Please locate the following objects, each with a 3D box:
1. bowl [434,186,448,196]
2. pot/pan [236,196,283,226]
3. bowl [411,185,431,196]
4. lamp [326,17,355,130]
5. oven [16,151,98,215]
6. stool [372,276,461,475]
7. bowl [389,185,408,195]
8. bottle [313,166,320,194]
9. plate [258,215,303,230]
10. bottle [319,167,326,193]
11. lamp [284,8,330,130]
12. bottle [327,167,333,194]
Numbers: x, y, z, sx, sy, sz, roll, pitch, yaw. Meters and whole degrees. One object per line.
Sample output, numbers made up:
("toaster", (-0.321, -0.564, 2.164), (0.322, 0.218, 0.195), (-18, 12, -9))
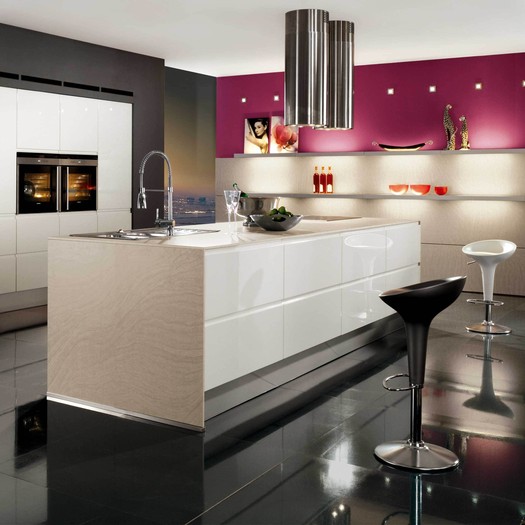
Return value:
("bowl", (2.414, -0.964, 6.175), (0.145, 0.116, 0.147), (1, 0, 0))
("pot/pan", (-0.066, -0.443, 3.624), (0.252, 0.169, 0.265), (1, -2, 8))
("bowl", (2.177, -0.995, 6.296), (0.268, 0.181, 0.277), (0, 1, 0))
("lamp", (0.746, -1.779, 4.371), (0.262, 0.971, 0.239), (0, 0, 1))
("oven", (-2.184, -0.806, 4.905), (0.785, 0.492, 0.295), (-5, -2, -34))
("stool", (0.642, 0.445, 1.908), (0.359, 0.765, 0.294), (0, 0, 24))
("bowl", (1.918, -1.024, 6.431), (0.273, 0.147, 0.160), (1, 1, 16))
("bottle", (0.812, -1.271, 7.024), (0.085, 0.423, 0.178), (0, 0, -32))
("plate", (0.121, -0.282, 3.280), (0.315, 0.118, 0.226), (0, 1, -4))
("bottle", (0.915, -1.262, 6.967), (0.102, 0.388, 0.078), (0, 0, 10))
("lamp", (0.362, -1.616, 3.801), (0.320, 0.941, 0.119), (0, 0, -2))
("bottle", (1.017, -1.256, 6.925), (0.102, 0.406, 0.066), (0, 0, 7))
